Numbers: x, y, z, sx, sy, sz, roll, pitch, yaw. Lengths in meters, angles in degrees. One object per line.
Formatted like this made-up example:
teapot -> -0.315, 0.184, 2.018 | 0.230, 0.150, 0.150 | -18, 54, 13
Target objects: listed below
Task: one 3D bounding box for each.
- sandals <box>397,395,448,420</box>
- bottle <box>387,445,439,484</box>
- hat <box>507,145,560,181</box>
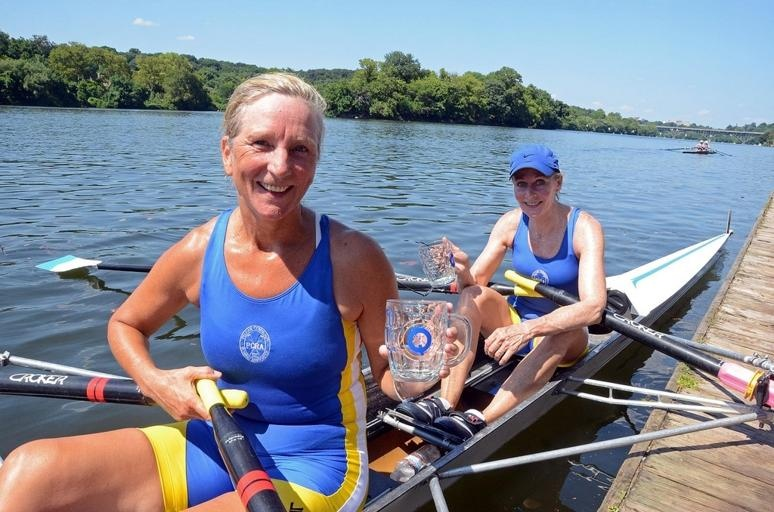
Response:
sandals -> 0.309, 1.229, 4.643 | 0.394, 0.166, 0.194 | 15, 2, -40
bottle -> 0.205, 1.538, 4.340 | 0.189, 0.122, 0.371 | 10, 20, 42
hat -> 1.372, -0.814, 5.280 | 0.298, 0.217, 0.415 | 1, -3, 28
